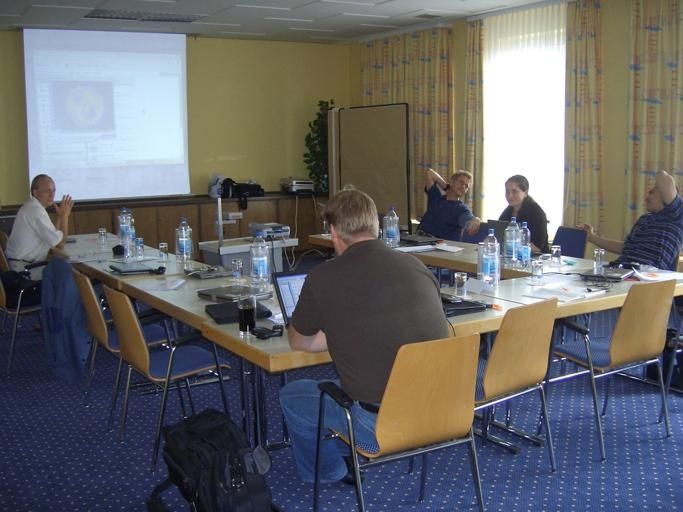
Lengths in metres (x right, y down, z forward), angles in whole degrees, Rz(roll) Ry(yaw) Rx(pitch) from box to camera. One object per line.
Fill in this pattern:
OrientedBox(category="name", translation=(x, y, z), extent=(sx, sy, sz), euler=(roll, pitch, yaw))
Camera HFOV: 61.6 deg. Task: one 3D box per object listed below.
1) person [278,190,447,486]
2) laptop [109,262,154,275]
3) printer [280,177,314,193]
OrientedBox(category="person", translation=(0.063, 0.512, 2.763), extent=(0.853, 1.625, 0.401), euler=(4, 14, 26))
OrientedBox(category="laptop", translation=(-1.673, 0.106, 4.547), extent=(0.405, 0.045, 0.313), euler=(-2, 4, 17))
OrientedBox(category="printer", translation=(-0.726, -1.154, 9.397), extent=(0.545, 0.270, 0.291), euler=(-4, 13, -6))
